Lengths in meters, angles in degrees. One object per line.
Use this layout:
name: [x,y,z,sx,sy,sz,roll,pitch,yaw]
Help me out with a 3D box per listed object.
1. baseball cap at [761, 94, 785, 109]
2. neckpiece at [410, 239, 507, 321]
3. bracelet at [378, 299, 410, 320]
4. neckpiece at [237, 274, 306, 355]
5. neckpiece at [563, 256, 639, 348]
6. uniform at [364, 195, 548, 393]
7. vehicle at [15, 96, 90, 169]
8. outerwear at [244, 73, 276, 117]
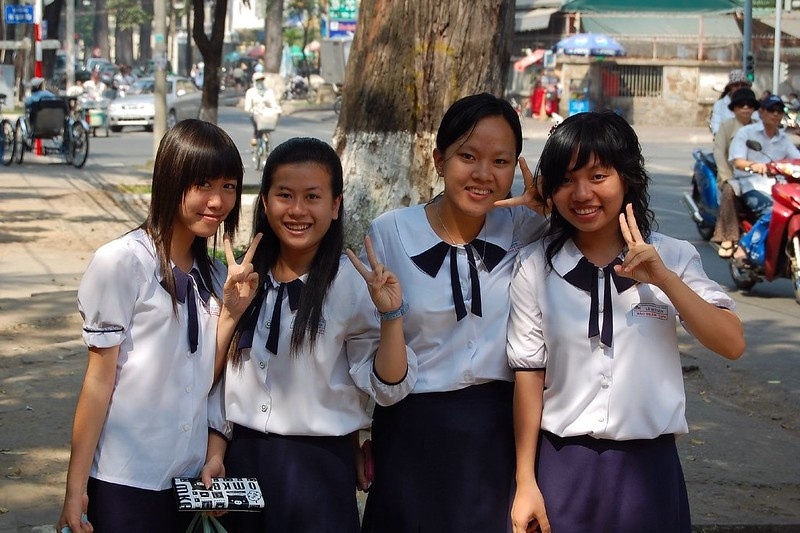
baseball cap: [4.341,-1.918,9.088,0.163,0.129,0.233,10,3,1]
neckpiece: [0.288,0.059,3.442,0.440,0.380,0.037,-6,16,13]
bracelet: [-0.029,0.187,3.238,0.130,0.075,0.074,-4,14,-20]
neckpiece: [-0.554,0.220,3.314,0.280,0.418,0.097,-5,-35,24]
neckpiece: [0.824,0.164,3.185,0.316,0.445,0.086,2,-21,3]
uniform: [0.304,0.116,3.564,0.848,0.820,0.451,-2,2,-9]
vehicle: [-7.938,-3.014,17.981,1.513,1.972,2.524,-2,20,-27]
outerwear: [-3.247,-4.015,18.118,0.686,0.911,1.449,-2,14,-13]
